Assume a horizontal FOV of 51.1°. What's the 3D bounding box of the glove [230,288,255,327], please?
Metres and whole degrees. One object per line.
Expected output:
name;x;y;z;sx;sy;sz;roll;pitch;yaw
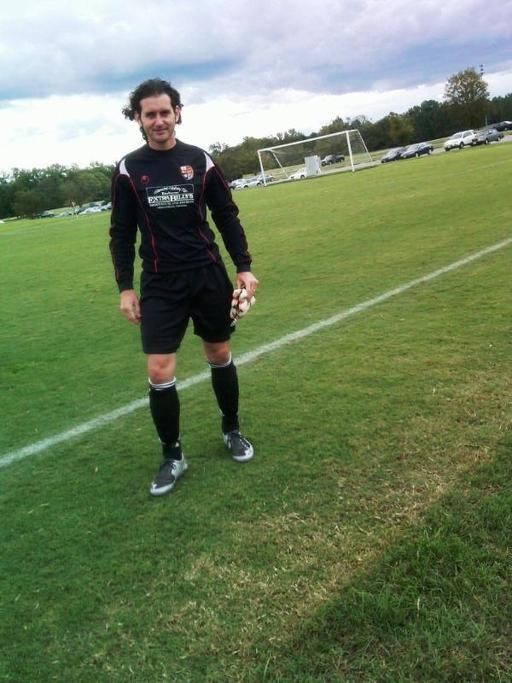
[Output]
glove;-0.074;-0.180;2.623;0.113;0.075;0.174;15;40;-28

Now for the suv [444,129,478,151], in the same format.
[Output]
suv;14.395;-13.624;36.591;2.591;1.307;1.310;-23;36;-16

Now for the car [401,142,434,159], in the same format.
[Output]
car;11.421;-13.416;37.404;2.684;0.867;1.284;-26;34;-32

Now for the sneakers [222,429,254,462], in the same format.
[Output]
sneakers;-0.079;0.519;2.695;0.077;0.074;0.191;-10;11;-16

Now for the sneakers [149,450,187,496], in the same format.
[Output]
sneakers;-0.406;0.612;2.445;0.072;0.074;0.210;2;9;14

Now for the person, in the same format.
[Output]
person;-0.345;-0.273;2.486;0.781;1.791;0.398;-16;13;-20

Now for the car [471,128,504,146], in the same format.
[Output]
car;15.530;-13.730;35.872;1.432;1.103;2.918;1;17;44
